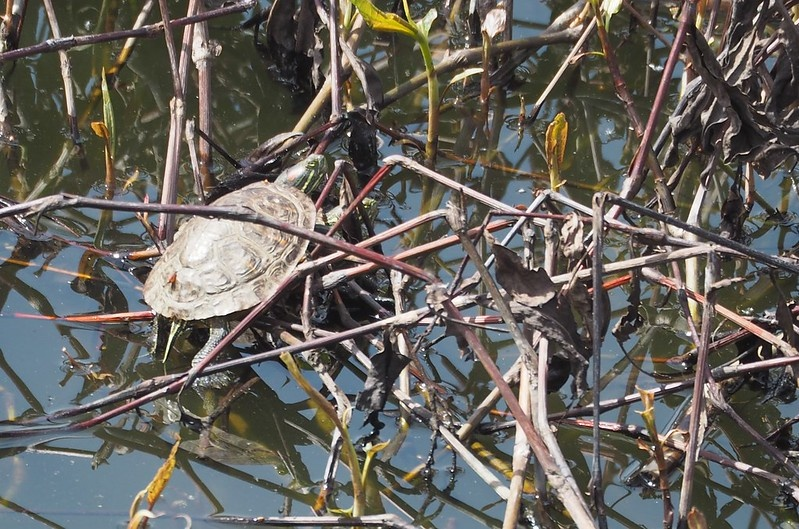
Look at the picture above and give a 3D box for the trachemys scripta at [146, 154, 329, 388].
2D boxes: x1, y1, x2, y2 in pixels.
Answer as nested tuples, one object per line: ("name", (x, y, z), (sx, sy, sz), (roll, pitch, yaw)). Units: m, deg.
("trachemys scripta", (-0.610, 0.031, 4.962), (0.682, 0.326, 0.973), (25, 67, 35))
